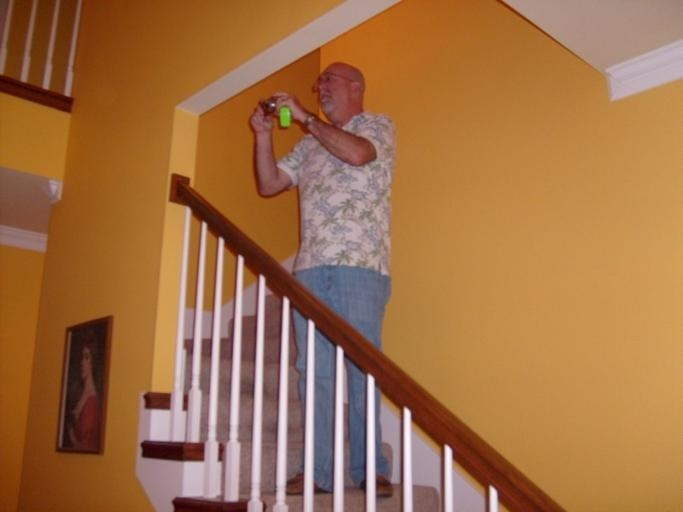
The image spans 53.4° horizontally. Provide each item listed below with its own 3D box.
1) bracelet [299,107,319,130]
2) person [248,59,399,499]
[{"bbox_3d":[-0.138,-0.644,3.159,0.025,0.086,0.111,-11,39,-34],"label":"bracelet"},{"bbox_3d":[-0.077,0.035,3.106,0.659,2.051,0.581,-3,-11,9],"label":"person"}]
